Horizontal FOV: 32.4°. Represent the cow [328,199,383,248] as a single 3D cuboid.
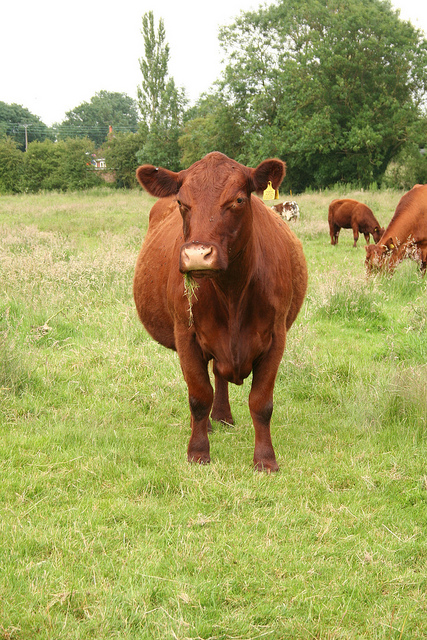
[{"bbox_3d":[3.494,-2.337,17.920,0.592,1.124,2.057,-5,17,-33],"label":"cow"}]
